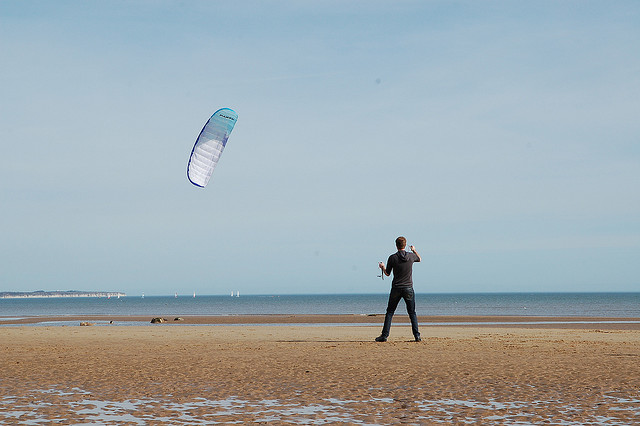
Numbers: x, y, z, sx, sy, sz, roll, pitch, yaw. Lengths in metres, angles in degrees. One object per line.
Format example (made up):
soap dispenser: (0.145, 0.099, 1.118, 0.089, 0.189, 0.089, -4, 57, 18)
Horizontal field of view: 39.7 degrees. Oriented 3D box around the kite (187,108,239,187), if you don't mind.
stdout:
kite: (-3.034, -1.841, 24.500, 0.871, 2.697, 0.620, 30, -22, -17)
